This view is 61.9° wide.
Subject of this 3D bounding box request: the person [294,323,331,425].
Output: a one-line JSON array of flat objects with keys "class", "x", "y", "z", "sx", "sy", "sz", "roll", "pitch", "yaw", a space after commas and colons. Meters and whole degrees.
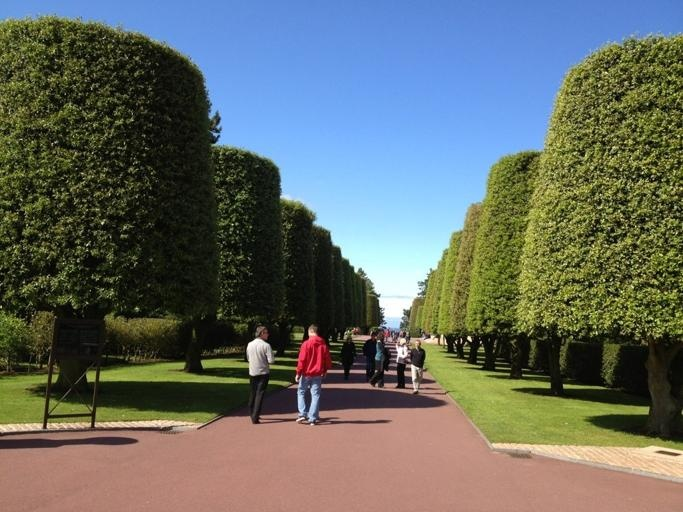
[{"class": "person", "x": -0.755, "y": 2.987, "z": 14.417, "sx": 0.696, "sy": 2.416, "sz": 0.837, "roll": 1, "pitch": -7, "yaw": 11}]
